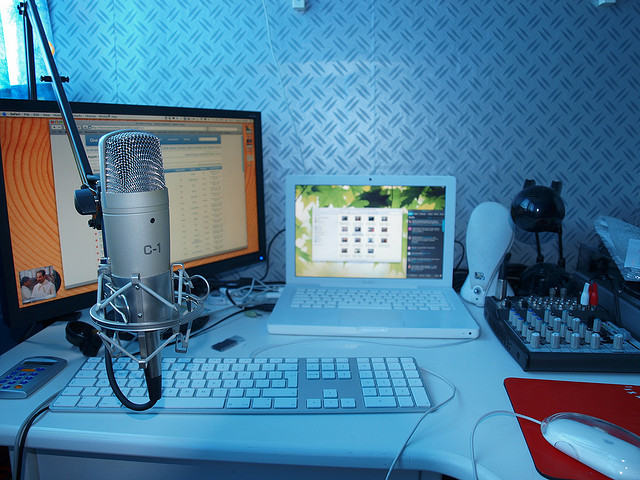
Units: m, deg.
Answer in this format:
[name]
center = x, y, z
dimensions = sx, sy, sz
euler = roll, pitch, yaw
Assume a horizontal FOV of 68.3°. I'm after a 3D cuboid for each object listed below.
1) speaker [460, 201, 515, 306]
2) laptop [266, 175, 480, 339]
[speaker]
center = 0.517, 0.011, 1.443
dimensions = 0.160, 0.342, 0.160
euler = 7, 23, 34
[laptop]
center = 0.141, 0.023, 1.283
dimensions = 0.516, 0.354, 0.382
euler = 1, 13, 5
